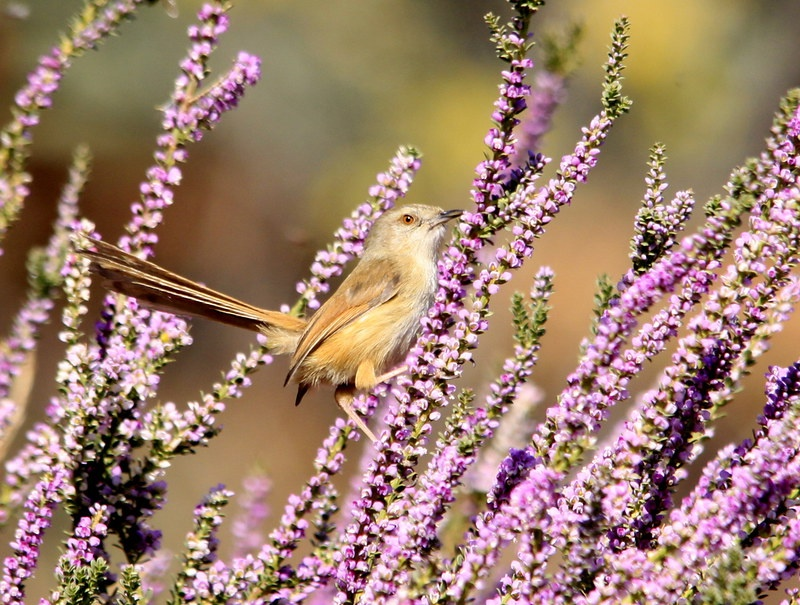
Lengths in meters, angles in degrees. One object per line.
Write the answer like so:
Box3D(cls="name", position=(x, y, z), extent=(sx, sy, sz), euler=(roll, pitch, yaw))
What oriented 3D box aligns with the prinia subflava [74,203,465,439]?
Box3D(cls="prinia subflava", position=(-0.613, 0.184, 6.185), extent=(1.916, 1.304, 0.557), euler=(-5, -11, -5))
